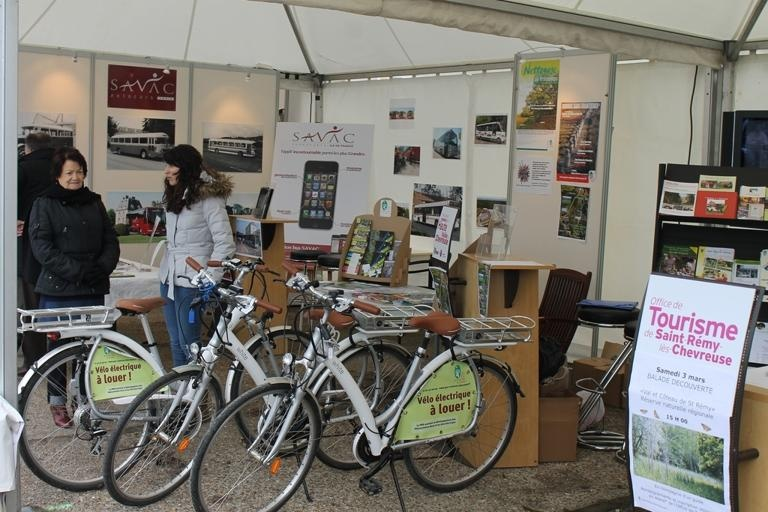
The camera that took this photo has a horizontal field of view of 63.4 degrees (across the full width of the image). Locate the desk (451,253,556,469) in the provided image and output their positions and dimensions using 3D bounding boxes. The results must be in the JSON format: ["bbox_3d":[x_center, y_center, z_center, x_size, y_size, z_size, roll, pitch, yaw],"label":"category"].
[{"bbox_3d":[0.906,0.847,4.752,0.548,1.413,1.554,-1,6,-9],"label":"desk"}]

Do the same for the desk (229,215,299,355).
[{"bbox_3d":[-1.139,0.247,5.787,0.557,1.357,1.400,-3,8,-24],"label":"desk"}]

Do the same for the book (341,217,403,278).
[{"bbox_3d":[-0.092,-0.079,6.267,0.553,0.520,0.199,8,1,32],"label":"book"}]

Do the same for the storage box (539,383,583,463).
[{"bbox_3d":[1.461,1.350,5.268,0.425,0.552,0.779,0,1,2],"label":"storage box"}]

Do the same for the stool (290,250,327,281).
[{"bbox_3d":[-0.908,0.084,7.481,0.389,0.265,0.405,1,4,-29],"label":"stool"}]

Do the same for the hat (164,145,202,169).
[{"bbox_3d":[-1.722,-0.880,5.382,0.275,0.233,0.204,-10,21,-42],"label":"hat"}]
